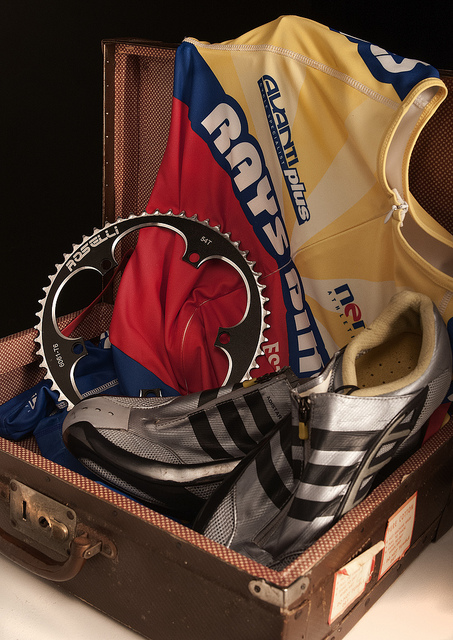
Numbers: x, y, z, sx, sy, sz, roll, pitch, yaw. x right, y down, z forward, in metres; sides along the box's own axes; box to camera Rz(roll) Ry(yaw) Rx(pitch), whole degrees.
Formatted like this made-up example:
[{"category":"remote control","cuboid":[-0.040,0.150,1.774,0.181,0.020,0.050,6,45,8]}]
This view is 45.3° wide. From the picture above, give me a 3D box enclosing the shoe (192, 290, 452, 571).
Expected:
[{"category":"shoe","cuboid":[0.115,0.128,0.615,0.105,0.132,0.315,39,86,31]}]
